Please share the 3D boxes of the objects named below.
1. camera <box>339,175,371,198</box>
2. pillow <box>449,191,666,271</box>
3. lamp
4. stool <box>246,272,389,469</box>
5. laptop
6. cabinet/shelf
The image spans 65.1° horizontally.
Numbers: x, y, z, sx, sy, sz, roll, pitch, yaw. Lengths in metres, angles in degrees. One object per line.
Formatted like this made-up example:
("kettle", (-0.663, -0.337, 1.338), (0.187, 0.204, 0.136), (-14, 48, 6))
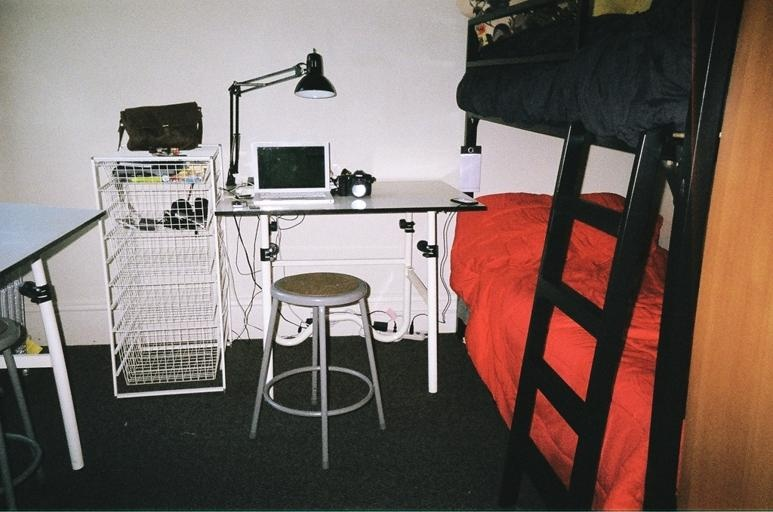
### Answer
("camera", (-0.180, -0.388, 3.340), (0.186, 0.132, 0.129), (0, 17, -7))
("pillow", (0.695, -0.142, 3.378), (0.697, 0.193, 0.672), (-5, 16, -15))
("lamp", (-0.632, -0.829, 3.518), (0.805, 0.926, 0.317), (4, 39, -7))
("stool", (-0.349, 0.527, 3.034), (0.743, 0.742, 0.716), (0, 8, -3))
("laptop", (-0.586, -0.489, 3.443), (0.447, 0.301, 0.266), (-5, 9, -26))
("cabinet/shelf", (-1.330, 0.110, 3.605), (0.870, 1.303, 0.773), (-4, 0, -9))
